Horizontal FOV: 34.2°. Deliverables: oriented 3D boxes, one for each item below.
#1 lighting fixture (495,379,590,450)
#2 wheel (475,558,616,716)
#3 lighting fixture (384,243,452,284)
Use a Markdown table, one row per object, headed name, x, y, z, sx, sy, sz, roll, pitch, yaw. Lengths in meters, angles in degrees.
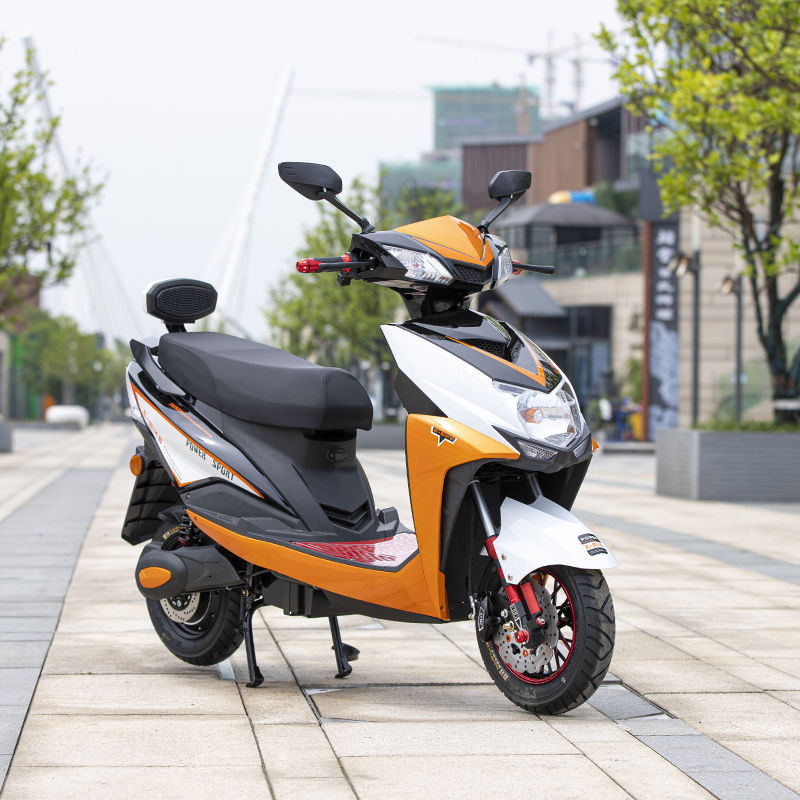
| name | x | y | z | sx | sy | sz | roll | pitch | yaw |
| --- | --- | --- | --- | --- | --- | --- | --- | --- | --- |
| lighting fixture | 0.620 | 0.058 | 5.250 | 0.408 | 0.257 | 0.242 | -4 | 6 | -36 |
| wheel | 0.582 | 0.990 | 5.330 | 0.382 | 0.665 | 0.551 | -5 | 7 | -28 |
| lighting fixture | 0.085 | -0.560 | 5.500 | 0.286 | 0.165 | 0.067 | -1 | 6 | 5 |
